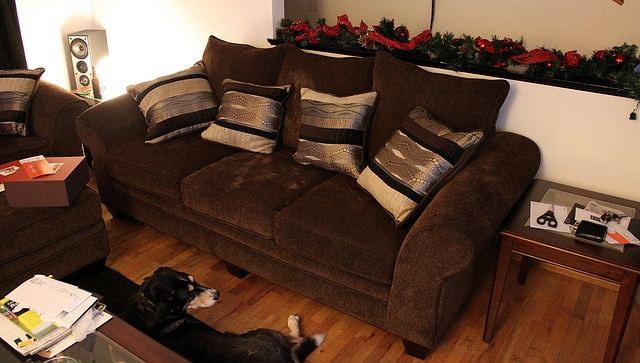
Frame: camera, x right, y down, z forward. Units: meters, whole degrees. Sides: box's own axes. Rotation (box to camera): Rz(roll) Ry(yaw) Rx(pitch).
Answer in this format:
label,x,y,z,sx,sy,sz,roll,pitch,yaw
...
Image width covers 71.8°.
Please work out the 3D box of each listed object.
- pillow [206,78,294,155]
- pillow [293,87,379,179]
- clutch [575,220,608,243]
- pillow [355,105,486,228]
label,x,y,z,sx,sy,sz,roll,pitch,yaw
pillow,-0.580,-0.531,3.659,0.693,0.594,0.204,11,-12,17
pillow,0.141,-0.360,3.408,0.622,0.525,0.307,15,38,21
clutch,1.688,0.312,2.758,0.164,0.074,0.134,23,34,26
pillow,0.642,-0.123,3.070,0.621,0.593,0.515,-18,39,-34
